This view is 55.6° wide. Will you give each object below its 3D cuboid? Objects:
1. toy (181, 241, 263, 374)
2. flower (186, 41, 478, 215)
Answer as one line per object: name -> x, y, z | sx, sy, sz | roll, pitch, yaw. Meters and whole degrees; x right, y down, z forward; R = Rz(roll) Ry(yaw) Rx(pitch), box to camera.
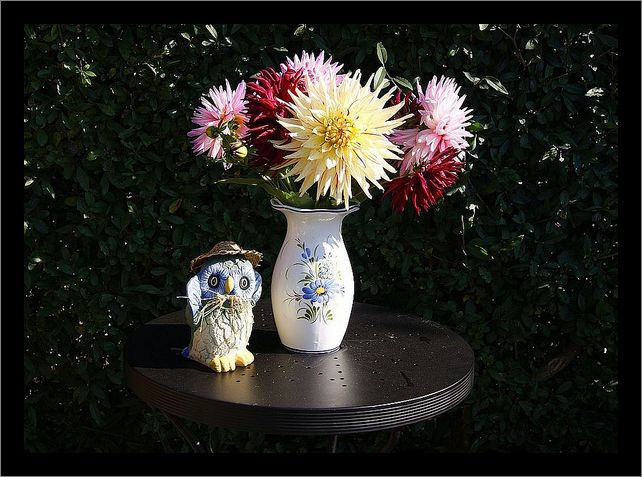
toy -> -0.284, 0.179, 1.765 | 0.220, 0.346, 0.193 | -4, 7, -38
flower -> -0.082, -0.274, 1.871 | 0.671, 0.503, 0.635 | -3, 10, -39
